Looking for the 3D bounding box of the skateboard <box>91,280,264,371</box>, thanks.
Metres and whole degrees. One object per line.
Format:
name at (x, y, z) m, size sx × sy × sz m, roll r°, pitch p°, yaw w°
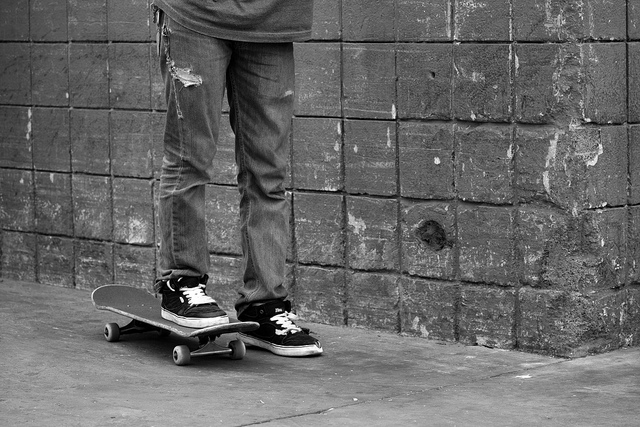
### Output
skateboard at (-0.937, 0.618, 5.333) m, size 0.390 × 0.276 × 1.359 m, roll -4°, pitch 11°, yaw -41°
